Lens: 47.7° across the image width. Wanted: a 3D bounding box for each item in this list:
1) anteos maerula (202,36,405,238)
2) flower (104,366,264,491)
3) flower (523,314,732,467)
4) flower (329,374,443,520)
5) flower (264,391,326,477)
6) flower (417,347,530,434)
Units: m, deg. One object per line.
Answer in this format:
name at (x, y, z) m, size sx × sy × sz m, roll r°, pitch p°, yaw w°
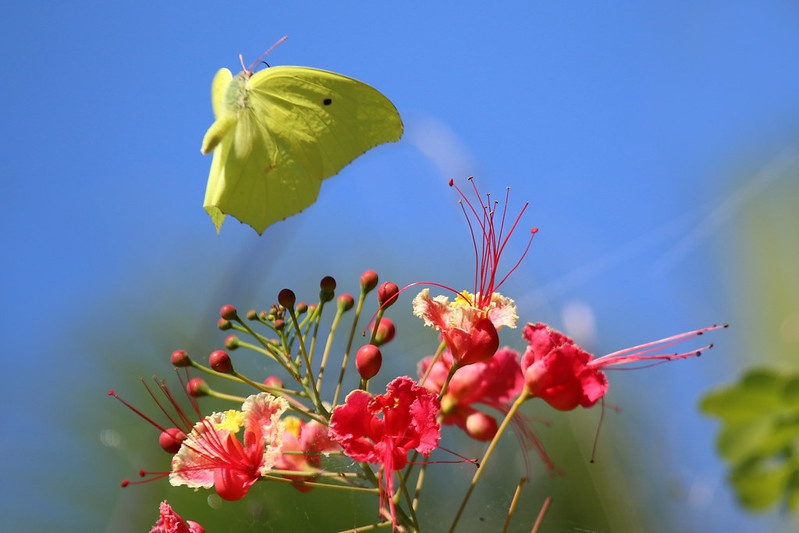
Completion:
anteos maerula at (-0.494, -0.534, 3.979) m, size 0.980 × 0.736 × 0.359 m, roll -2°, pitch -14°, yaw 31°
flower at (-0.748, 0.675, 3.444) m, size 0.385 × 0.272 × 0.247 m, roll 36°, pitch -68°, yaw -30°
flower at (0.871, 0.401, 3.633) m, size 0.781 × 0.409 × 0.497 m, roll -17°, pitch 40°, yaw -12°
flower at (-0.023, 0.684, 3.341) m, size 0.323 × 0.442 × 0.408 m, roll -1°, pitch 13°, yaw 23°
flower at (-0.406, 0.660, 3.596) m, size 0.246 × 0.172 × 0.276 m, roll -18°, pitch 33°, yaw -13°
flower at (0.335, 0.495, 3.722) m, size 0.322 × 0.182 × 0.323 m, roll -26°, pitch 32°, yaw -19°
